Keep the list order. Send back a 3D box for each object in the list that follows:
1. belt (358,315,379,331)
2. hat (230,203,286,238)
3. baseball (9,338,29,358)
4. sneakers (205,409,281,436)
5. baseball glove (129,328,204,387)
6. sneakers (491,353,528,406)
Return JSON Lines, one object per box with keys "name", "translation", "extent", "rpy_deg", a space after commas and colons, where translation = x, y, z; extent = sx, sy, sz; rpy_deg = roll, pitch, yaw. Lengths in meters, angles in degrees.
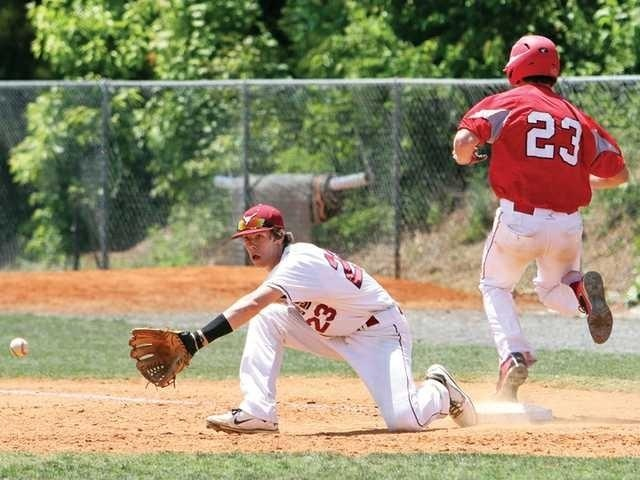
{"name": "belt", "translation": [0.477, 0.777, 12.661], "extent": [0.122, 0.033, 0.117], "rpy_deg": [-43, 19, -1]}
{"name": "hat", "translation": [-0.533, -0.167, 12.553], "extent": [0.392, 0.241, 0.297], "rpy_deg": [-1, -5, -41]}
{"name": "baseball", "translation": [-3.146, 1.130, 14.148], "extent": [0.174, 0.215, 0.152], "rpy_deg": [-4, 15, -13]}
{"name": "sneakers", "translation": [-0.715, 1.670, 12.623], "extent": [0.641, 0.295, 0.249], "rpy_deg": [5, -5, 3]}
{"name": "baseball glove", "translation": [-1.432, 1.037, 12.334], "extent": [0.480, 0.610, 0.227], "rpy_deg": [23, 13, 13]}
{"name": "sneakers", "translation": [1.850, 1.284, 12.971], "extent": [0.191, 0.604, 0.270], "rpy_deg": [4, 34, -2]}
